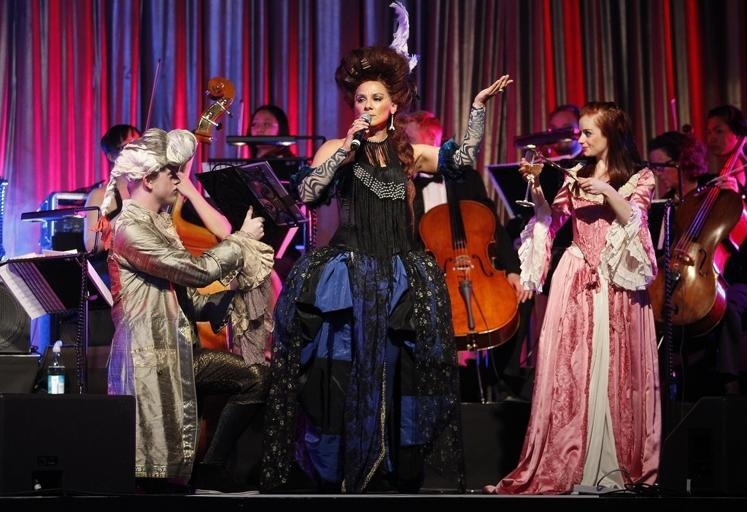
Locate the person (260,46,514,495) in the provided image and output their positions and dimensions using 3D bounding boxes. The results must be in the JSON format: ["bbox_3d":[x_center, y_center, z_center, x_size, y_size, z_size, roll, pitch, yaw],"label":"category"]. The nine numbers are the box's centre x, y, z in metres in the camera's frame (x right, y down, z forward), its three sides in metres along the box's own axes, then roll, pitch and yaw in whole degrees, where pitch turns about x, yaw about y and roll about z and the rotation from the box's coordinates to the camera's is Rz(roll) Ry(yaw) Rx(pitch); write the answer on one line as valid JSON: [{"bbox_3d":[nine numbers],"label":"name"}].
[{"bbox_3d":[-0.086,0.045,4.407,1.021,2.251,0.379,-1,0,-10],"label":"person"}]

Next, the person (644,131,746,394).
[{"bbox_3d":[2.102,0.004,5.565,0.417,1.832,0.629,25,-17,-35],"label":"person"}]

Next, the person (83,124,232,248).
[{"bbox_3d":[-1.313,-0.417,5.167,0.276,1.054,0.510,-2,0,41],"label":"person"}]

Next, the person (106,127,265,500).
[{"bbox_3d":[-1.023,0.263,4.499,0.808,1.708,0.490,-1,0,-24],"label":"person"}]

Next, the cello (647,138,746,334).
[{"bbox_3d":[2.221,-0.038,5.570,0.461,1.304,0.484,-1,0,30],"label":"cello"}]

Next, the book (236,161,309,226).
[{"bbox_3d":[-0.675,-0.346,5.166,0.098,0.379,0.531,27,-15,35],"label":"book"}]

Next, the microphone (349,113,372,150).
[{"bbox_3d":[-0.047,-0.654,4.331,0.066,0.247,0.066,28,-35,-11],"label":"microphone"}]

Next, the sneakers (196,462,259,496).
[{"bbox_3d":[-0.807,1.244,4.649,0.294,0.178,0.071,-1,-14,17],"label":"sneakers"}]

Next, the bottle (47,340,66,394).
[{"bbox_3d":[-2.116,0.731,5.543,0.116,0.308,0.456,-1,-1,-21],"label":"bottle"}]

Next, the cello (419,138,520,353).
[{"bbox_3d":[0.572,-0.173,5.654,0.597,1.613,0.250,-7,-25,1],"label":"cello"}]
